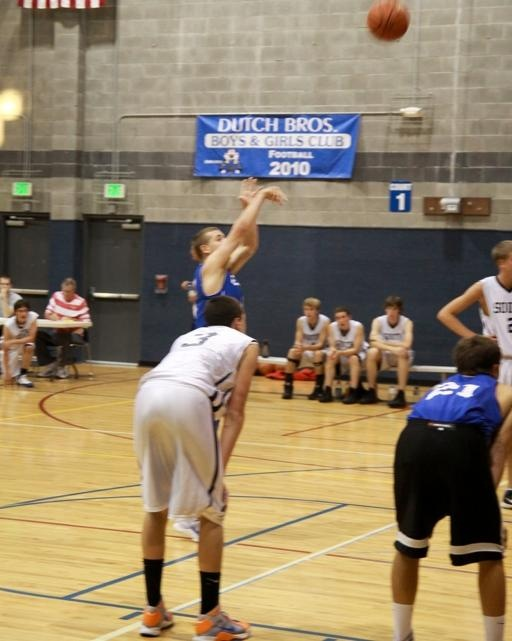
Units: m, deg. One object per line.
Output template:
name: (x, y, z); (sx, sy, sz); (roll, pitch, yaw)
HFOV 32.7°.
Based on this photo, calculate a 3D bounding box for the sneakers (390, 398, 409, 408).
sneakers: (1.470, 0.862, 9.023); (0.080, 0.083, 0.213); (-3, -10, 31)

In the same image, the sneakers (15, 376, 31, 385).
sneakers: (-2.634, 0.681, 9.908); (0.267, 0.100, 0.088); (0, 3, 40)

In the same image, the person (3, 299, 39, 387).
person: (-2.714, 0.245, 9.909); (0.358, 0.982, 0.543); (3, 2, -16)

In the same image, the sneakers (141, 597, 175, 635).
sneakers: (-0.337, 0.997, 2.924); (0.058, 0.096, 0.154); (2, 7, 19)
